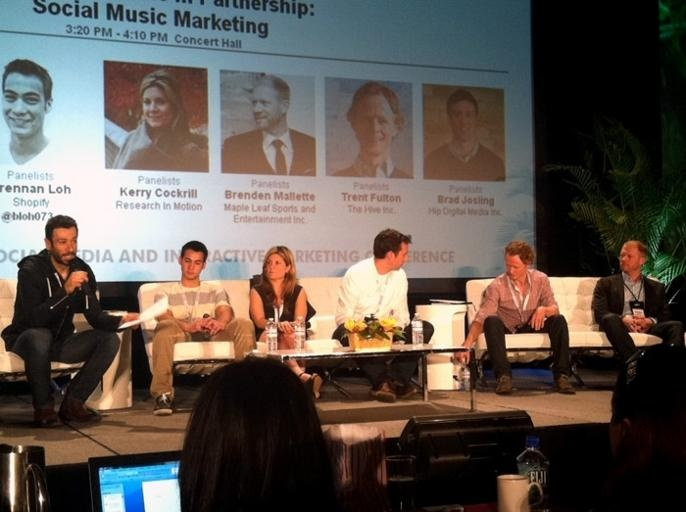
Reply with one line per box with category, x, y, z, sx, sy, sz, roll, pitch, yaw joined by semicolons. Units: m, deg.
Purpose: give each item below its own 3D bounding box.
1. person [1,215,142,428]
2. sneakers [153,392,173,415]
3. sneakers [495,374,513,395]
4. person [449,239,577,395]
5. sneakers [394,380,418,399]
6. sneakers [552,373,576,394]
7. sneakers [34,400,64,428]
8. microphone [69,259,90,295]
person;-1.828;0.414;4.243;0.743;1.358;0.547;-4;4;-29
sneakers;-1.211;0.996;4.349;0.119;0.147;0.118;-3;4;-18
sneakers;1.232;0.983;4.967;0.117;0.148;0.154;-1;3;12
person;1.389;0.469;5.152;0.774;1.156;0.633;-1;4;8
sneakers;0.500;1.015;4.892;0.085;0.158;0.218;9;-22;-36
sneakers;1.746;1.010;5.063;0.093;0.162;0.250;-1;-17;-7
sneakers;-1.843;0.984;4.036;0.155;0.156;0.287;-3;3;-24
microphone;-1.785;0.132;4.343;0.157;0.230;0.368;-3;3;-22
